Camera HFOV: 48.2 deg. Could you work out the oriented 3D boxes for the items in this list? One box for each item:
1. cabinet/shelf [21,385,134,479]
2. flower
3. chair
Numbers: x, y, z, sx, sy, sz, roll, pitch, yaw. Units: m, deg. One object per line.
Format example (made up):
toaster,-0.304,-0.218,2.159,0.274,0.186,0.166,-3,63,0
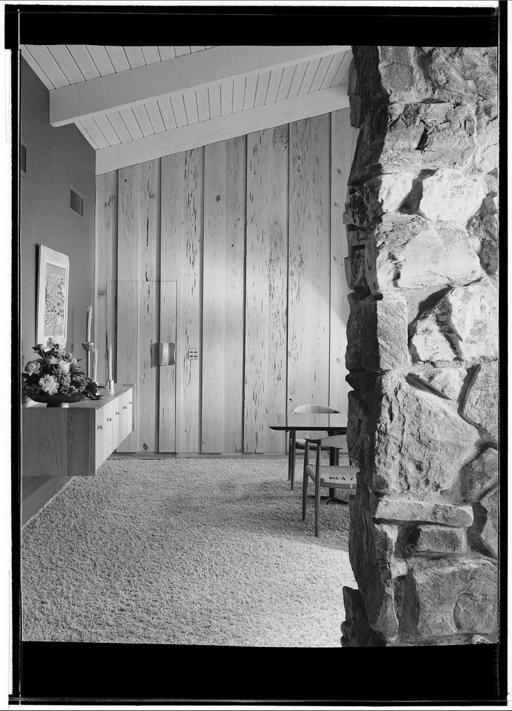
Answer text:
cabinet/shelf,-1.107,0.464,3.659,0.407,0.389,1.090,1,1,-1
flower,-1.146,0.136,3.335,0.302,0.414,0.373,-1,3,-8
chair,0.403,0.678,3.768,0.422,1.214,0.647,1,3,4
